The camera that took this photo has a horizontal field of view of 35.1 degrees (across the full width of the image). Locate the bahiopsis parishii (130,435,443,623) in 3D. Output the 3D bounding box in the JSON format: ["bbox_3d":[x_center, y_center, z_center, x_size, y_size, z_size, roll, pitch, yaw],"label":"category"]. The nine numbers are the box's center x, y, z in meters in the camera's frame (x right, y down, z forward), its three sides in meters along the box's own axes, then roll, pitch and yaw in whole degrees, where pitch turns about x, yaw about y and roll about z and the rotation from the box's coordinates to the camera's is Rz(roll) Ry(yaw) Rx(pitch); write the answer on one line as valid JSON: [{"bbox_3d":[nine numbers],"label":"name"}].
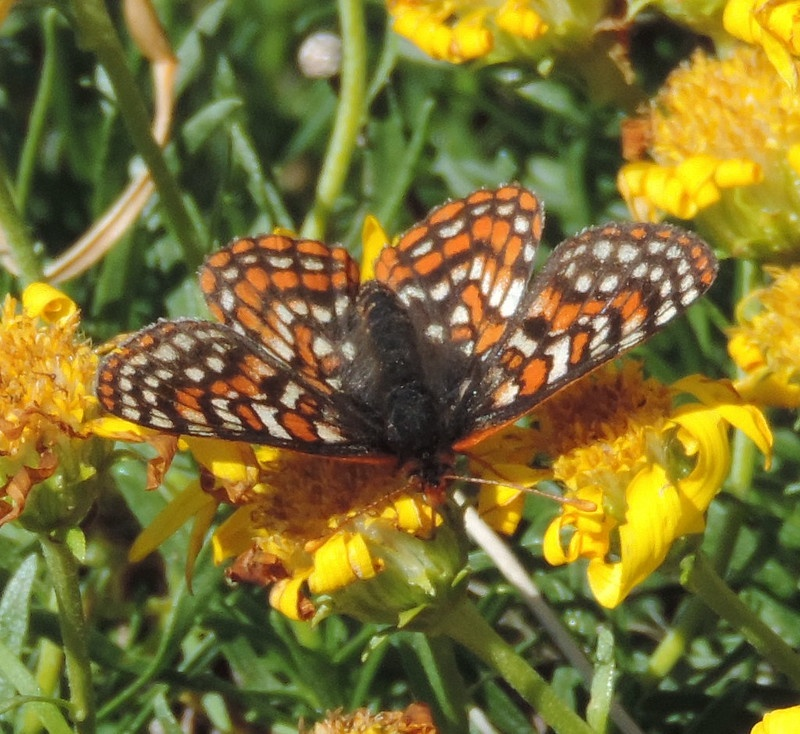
[{"bbox_3d":[-0.094,0.132,1.075,0.207,0.093,0.197,-17,31,-23],"label":"bahiopsis parishii"}]

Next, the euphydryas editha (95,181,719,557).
[{"bbox_3d":[0.005,-0.061,1.109,0.589,0.267,0.144,-4,15,11],"label":"euphydryas editha"}]
